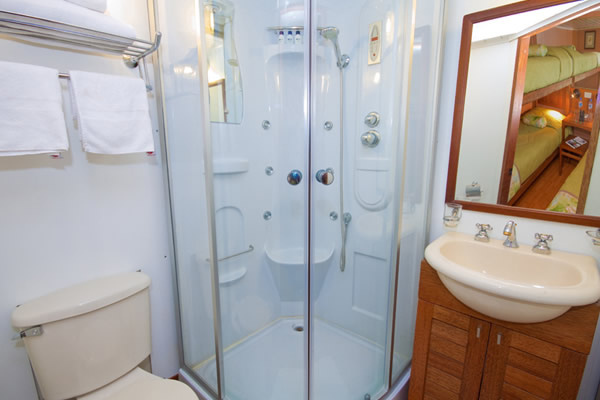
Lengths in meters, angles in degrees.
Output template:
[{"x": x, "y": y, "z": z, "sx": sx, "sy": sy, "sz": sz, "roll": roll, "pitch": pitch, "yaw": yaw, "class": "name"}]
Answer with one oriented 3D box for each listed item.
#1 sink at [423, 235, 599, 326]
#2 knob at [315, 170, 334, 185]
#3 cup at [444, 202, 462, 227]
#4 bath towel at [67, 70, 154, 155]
[{"x": 1.201, "y": 0.479, "z": 2.234, "sx": 0.922, "sy": 0.394, "sz": 0.480, "roll": 2, "pitch": 14, "yaw": 20, "class": "sink"}, {"x": 0.138, "y": -0.134, "z": 2.246, "sx": 0.092, "sy": 0.078, "sz": 0.087, "roll": 8, "pitch": 7, "yaw": -28, "class": "knob"}, {"x": 1.005, "y": 0.099, "z": 2.558, "sx": 0.106, "sy": 0.139, "sz": 0.108, "roll": -3, "pitch": 14, "yaw": 1, "class": "cup"}, {"x": -1.097, "y": -0.510, "z": 2.286, "sx": 0.162, "sy": 0.442, "sz": 0.526, "roll": 16, "pitch": 16, "yaw": 40, "class": "bath towel"}]
